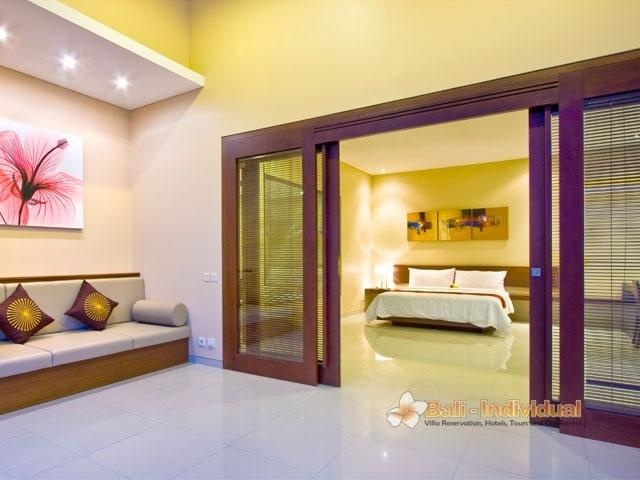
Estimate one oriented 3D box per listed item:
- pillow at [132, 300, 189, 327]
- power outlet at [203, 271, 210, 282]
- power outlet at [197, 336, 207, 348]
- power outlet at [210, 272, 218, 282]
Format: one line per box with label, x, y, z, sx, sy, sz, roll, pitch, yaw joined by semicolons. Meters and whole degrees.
pillow;-1.881;0.840;4.838;0.655;0.268;0.283;-2;-8;25
power outlet;-1.298;0.410;4.752;0.124;0.139;0.016;0;-1;25
power outlet;-1.359;1.168;4.808;0.128;0.122;0.035;-4;-2;36
power outlet;-1.200;0.416;4.685;0.102;0.096;0.025;-2;-3;25
